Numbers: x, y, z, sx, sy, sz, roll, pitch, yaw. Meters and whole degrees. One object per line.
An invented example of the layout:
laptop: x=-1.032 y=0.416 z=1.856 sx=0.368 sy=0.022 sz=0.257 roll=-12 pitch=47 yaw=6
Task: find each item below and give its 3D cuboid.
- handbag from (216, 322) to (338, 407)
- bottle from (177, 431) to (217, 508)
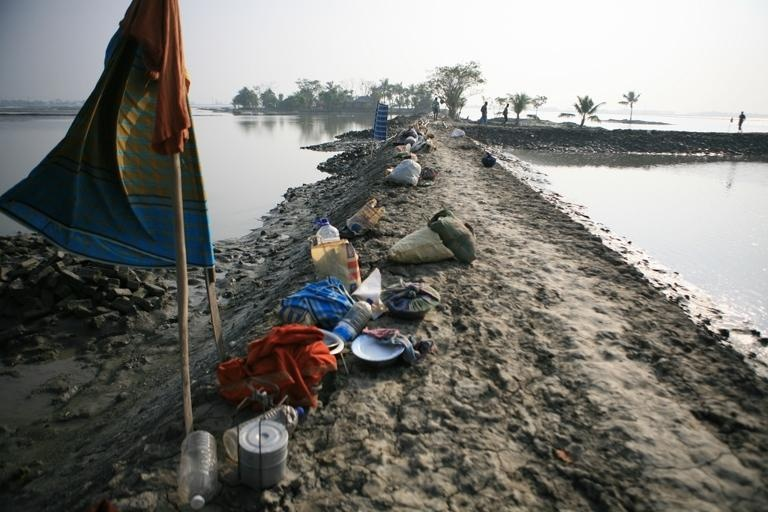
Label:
handbag: x=-1.172 y=1.141 z=5.101 sx=0.970 sy=0.483 sz=0.983 roll=14 pitch=23 yaw=15
bottle: x=-1.767 y=2.028 z=4.497 sx=0.344 sy=0.462 sz=0.594 roll=-4 pitch=20 yaw=-19
